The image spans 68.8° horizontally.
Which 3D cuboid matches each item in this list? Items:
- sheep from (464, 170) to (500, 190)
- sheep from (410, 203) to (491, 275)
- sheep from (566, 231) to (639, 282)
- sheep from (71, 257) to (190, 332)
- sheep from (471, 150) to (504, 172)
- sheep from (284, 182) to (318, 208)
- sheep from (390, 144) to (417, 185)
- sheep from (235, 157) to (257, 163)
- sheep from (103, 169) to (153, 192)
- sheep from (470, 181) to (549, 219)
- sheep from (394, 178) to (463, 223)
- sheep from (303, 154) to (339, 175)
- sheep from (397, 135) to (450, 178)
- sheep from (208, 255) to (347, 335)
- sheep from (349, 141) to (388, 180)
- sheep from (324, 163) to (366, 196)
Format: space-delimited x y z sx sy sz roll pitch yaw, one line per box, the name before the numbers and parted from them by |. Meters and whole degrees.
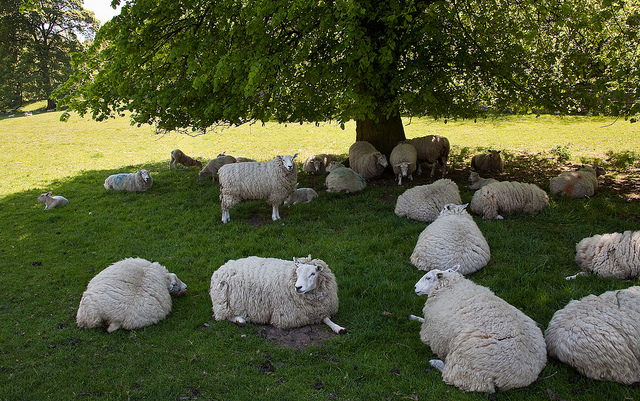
sheep | 5.484 -0.678 15.996 0.985 0.542 0.498 7 6 22
sheep | 3.721 1.162 13.144 2.090 1.481 3.171 5 23 11
sheep | 7.077 1.319 11.489 1.301 1.099 0.523 4 11 30
sheep | -4.649 2.335 11.395 2.322 1.448 1.179 -7 11 -29
sheep | 6.761 -1.592 19.039 0.669 0.640 1.328 -2 5 -16
sheep | -0.664 -0.158 16.741 1.223 0.658 0.565 -5 -10 13
sheep | 3.201 -1.440 18.188 1.127 1.376 2.332 -4 29 12
sheep | -3.302 -1.735 19.821 0.775 0.303 0.585 -3 3 36
sheep | -7.929 -0.816 19.332 1.755 0.806 0.845 2 14 11
sheep | 5.827 -0.010 14.515 1.975 1.025 1.087 0 4 4
sheep | 3.497 0.006 15.154 2.349 1.044 1.769 -17 20 -29
sheep | 0.006 -1.512 19.753 1.037 0.761 1.938 0 5 3
sheep | 4.194 -1.863 19.295 1.114 1.672 2.470 -6 10 -37
sheep | -1.097 2.188 11.734 2.982 1.478 1.725 3 5 14
sheep | 1.726 -1.643 18.411 0.929 1.125 1.840 -17 41 -20
sheep | 0.809 -0.767 17.164 1.292 0.968 1.828 -7 11 -30
